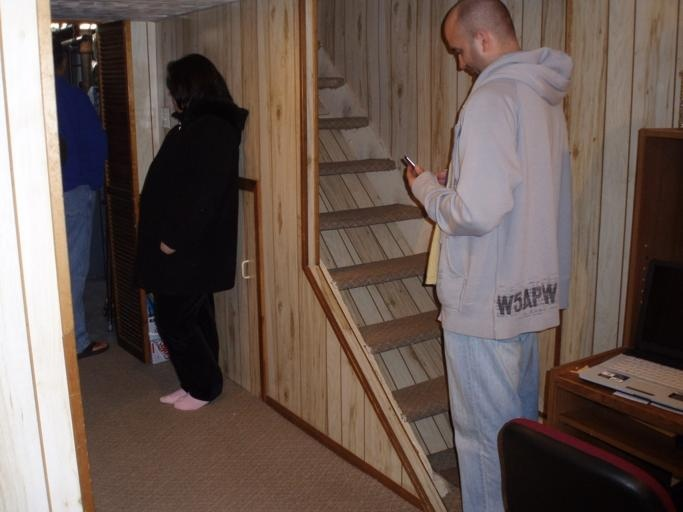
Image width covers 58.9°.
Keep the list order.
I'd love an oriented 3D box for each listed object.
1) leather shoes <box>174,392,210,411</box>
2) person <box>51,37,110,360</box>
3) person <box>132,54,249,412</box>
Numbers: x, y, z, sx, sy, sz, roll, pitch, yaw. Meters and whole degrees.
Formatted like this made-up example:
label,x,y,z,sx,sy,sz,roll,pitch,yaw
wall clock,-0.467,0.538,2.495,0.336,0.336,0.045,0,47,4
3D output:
label,x,y,z,sx,sy,sz,roll,pitch,yaw
leather shoes,-0.846,0.819,3.391,0.153,0.052,0.093,6,44,-14
person,-1.639,-0.223,3.918,0.297,1.796,0.285,-7,14,-27
person,-0.798,-0.094,3.266,0.618,1.895,0.339,-4,13,-15
